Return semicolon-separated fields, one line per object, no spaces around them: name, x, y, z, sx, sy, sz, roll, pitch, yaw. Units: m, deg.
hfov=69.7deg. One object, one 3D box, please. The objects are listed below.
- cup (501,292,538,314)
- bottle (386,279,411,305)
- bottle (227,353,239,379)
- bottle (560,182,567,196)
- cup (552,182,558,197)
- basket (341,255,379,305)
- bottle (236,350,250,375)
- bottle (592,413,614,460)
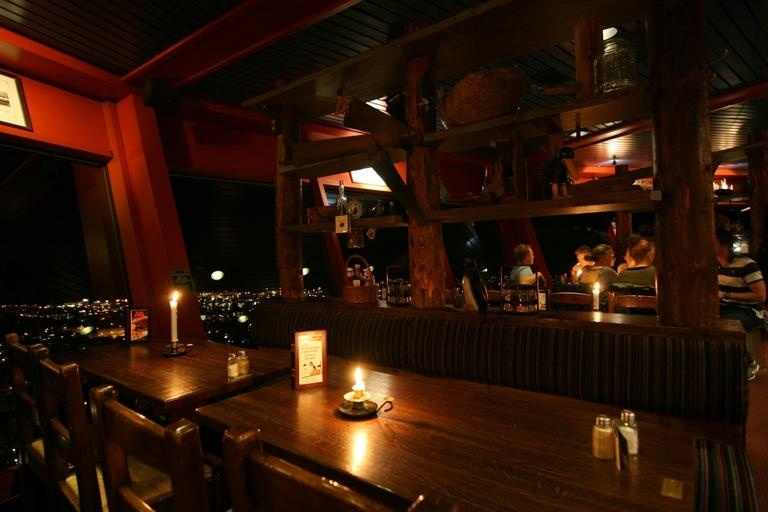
cup;1.009;0.333;4.066;0.185;0.121;0.185;-2;3;0
bottle;0.128;0.295;4.642;0.205;0.182;0.200;2;6;11
bottle;-1.055;0.763;3.858;0.084;0.135;0.196;-6;-2;-16
bottle;1.260;-0.465;3.865;0.052;0.095;0.016;-6;-1;0
cup;1.203;-0.463;3.882;0.053;0.103;0.025;-7;-2;21
basket;-0.260;0.237;5.126;0.429;0.540;0.402;2;-6;-12
bottle;-0.997;0.755;3.905;0.108;0.188;0.110;-2;-4;0
bottle;1.154;0.959;2.912;0.120;0.243;0.076;-7;-2;17
